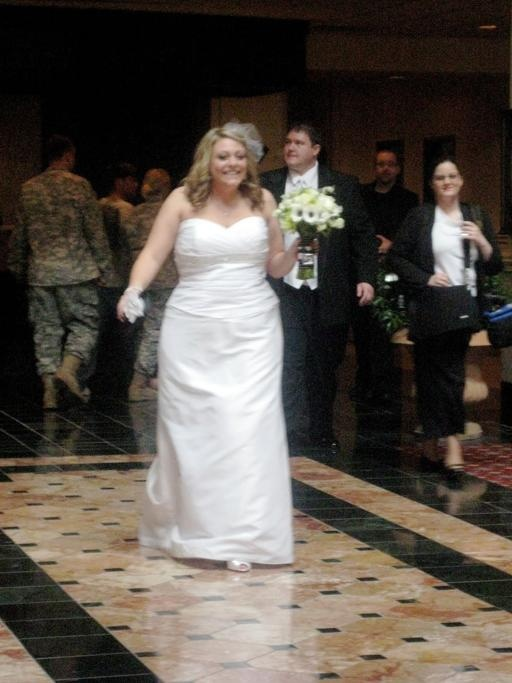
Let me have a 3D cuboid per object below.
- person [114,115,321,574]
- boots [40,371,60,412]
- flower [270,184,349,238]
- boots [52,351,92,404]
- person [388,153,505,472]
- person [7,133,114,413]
[{"bbox_3d":[-0.144,0.004,2.785,0.717,1.664,0.655,-2,10,-16],"label":"person"},{"bbox_3d":[-1.899,0.457,6.807,0.141,0.310,0.311,-1,9,-15],"label":"boots"},{"bbox_3d":[0.227,-0.525,3.062,0.313,0.197,0.256,-1,21,6],"label":"flower"},{"bbox_3d":[-1.721,0.348,6.929,0.285,0.483,0.399,1,9,-1],"label":"boots"},{"bbox_3d":[1.166,-0.142,4.571,0.483,1.896,0.553,-8,13,-44],"label":"person"},{"bbox_3d":[-1.814,-0.740,7.022,0.775,2.353,0.584,-7,13,-42],"label":"person"}]
